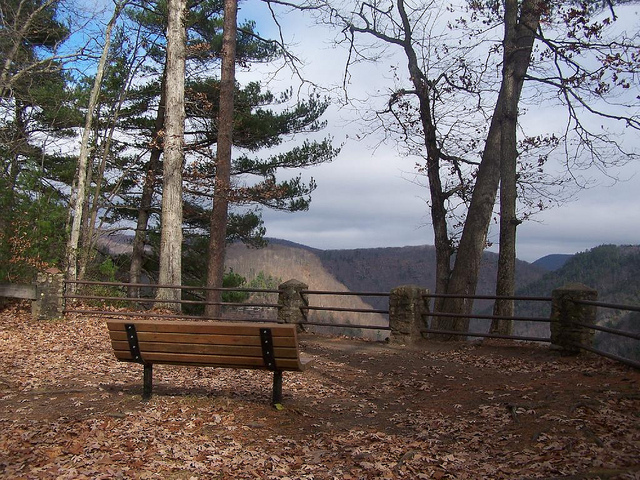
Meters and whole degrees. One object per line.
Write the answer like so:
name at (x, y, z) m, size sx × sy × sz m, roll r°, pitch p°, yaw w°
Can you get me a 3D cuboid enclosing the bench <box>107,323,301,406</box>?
bench at (-1.670, 1.874, 8.985) m, size 3.058 × 1.524 × 2.168 m, roll 3°, pitch 5°, yaw 11°
